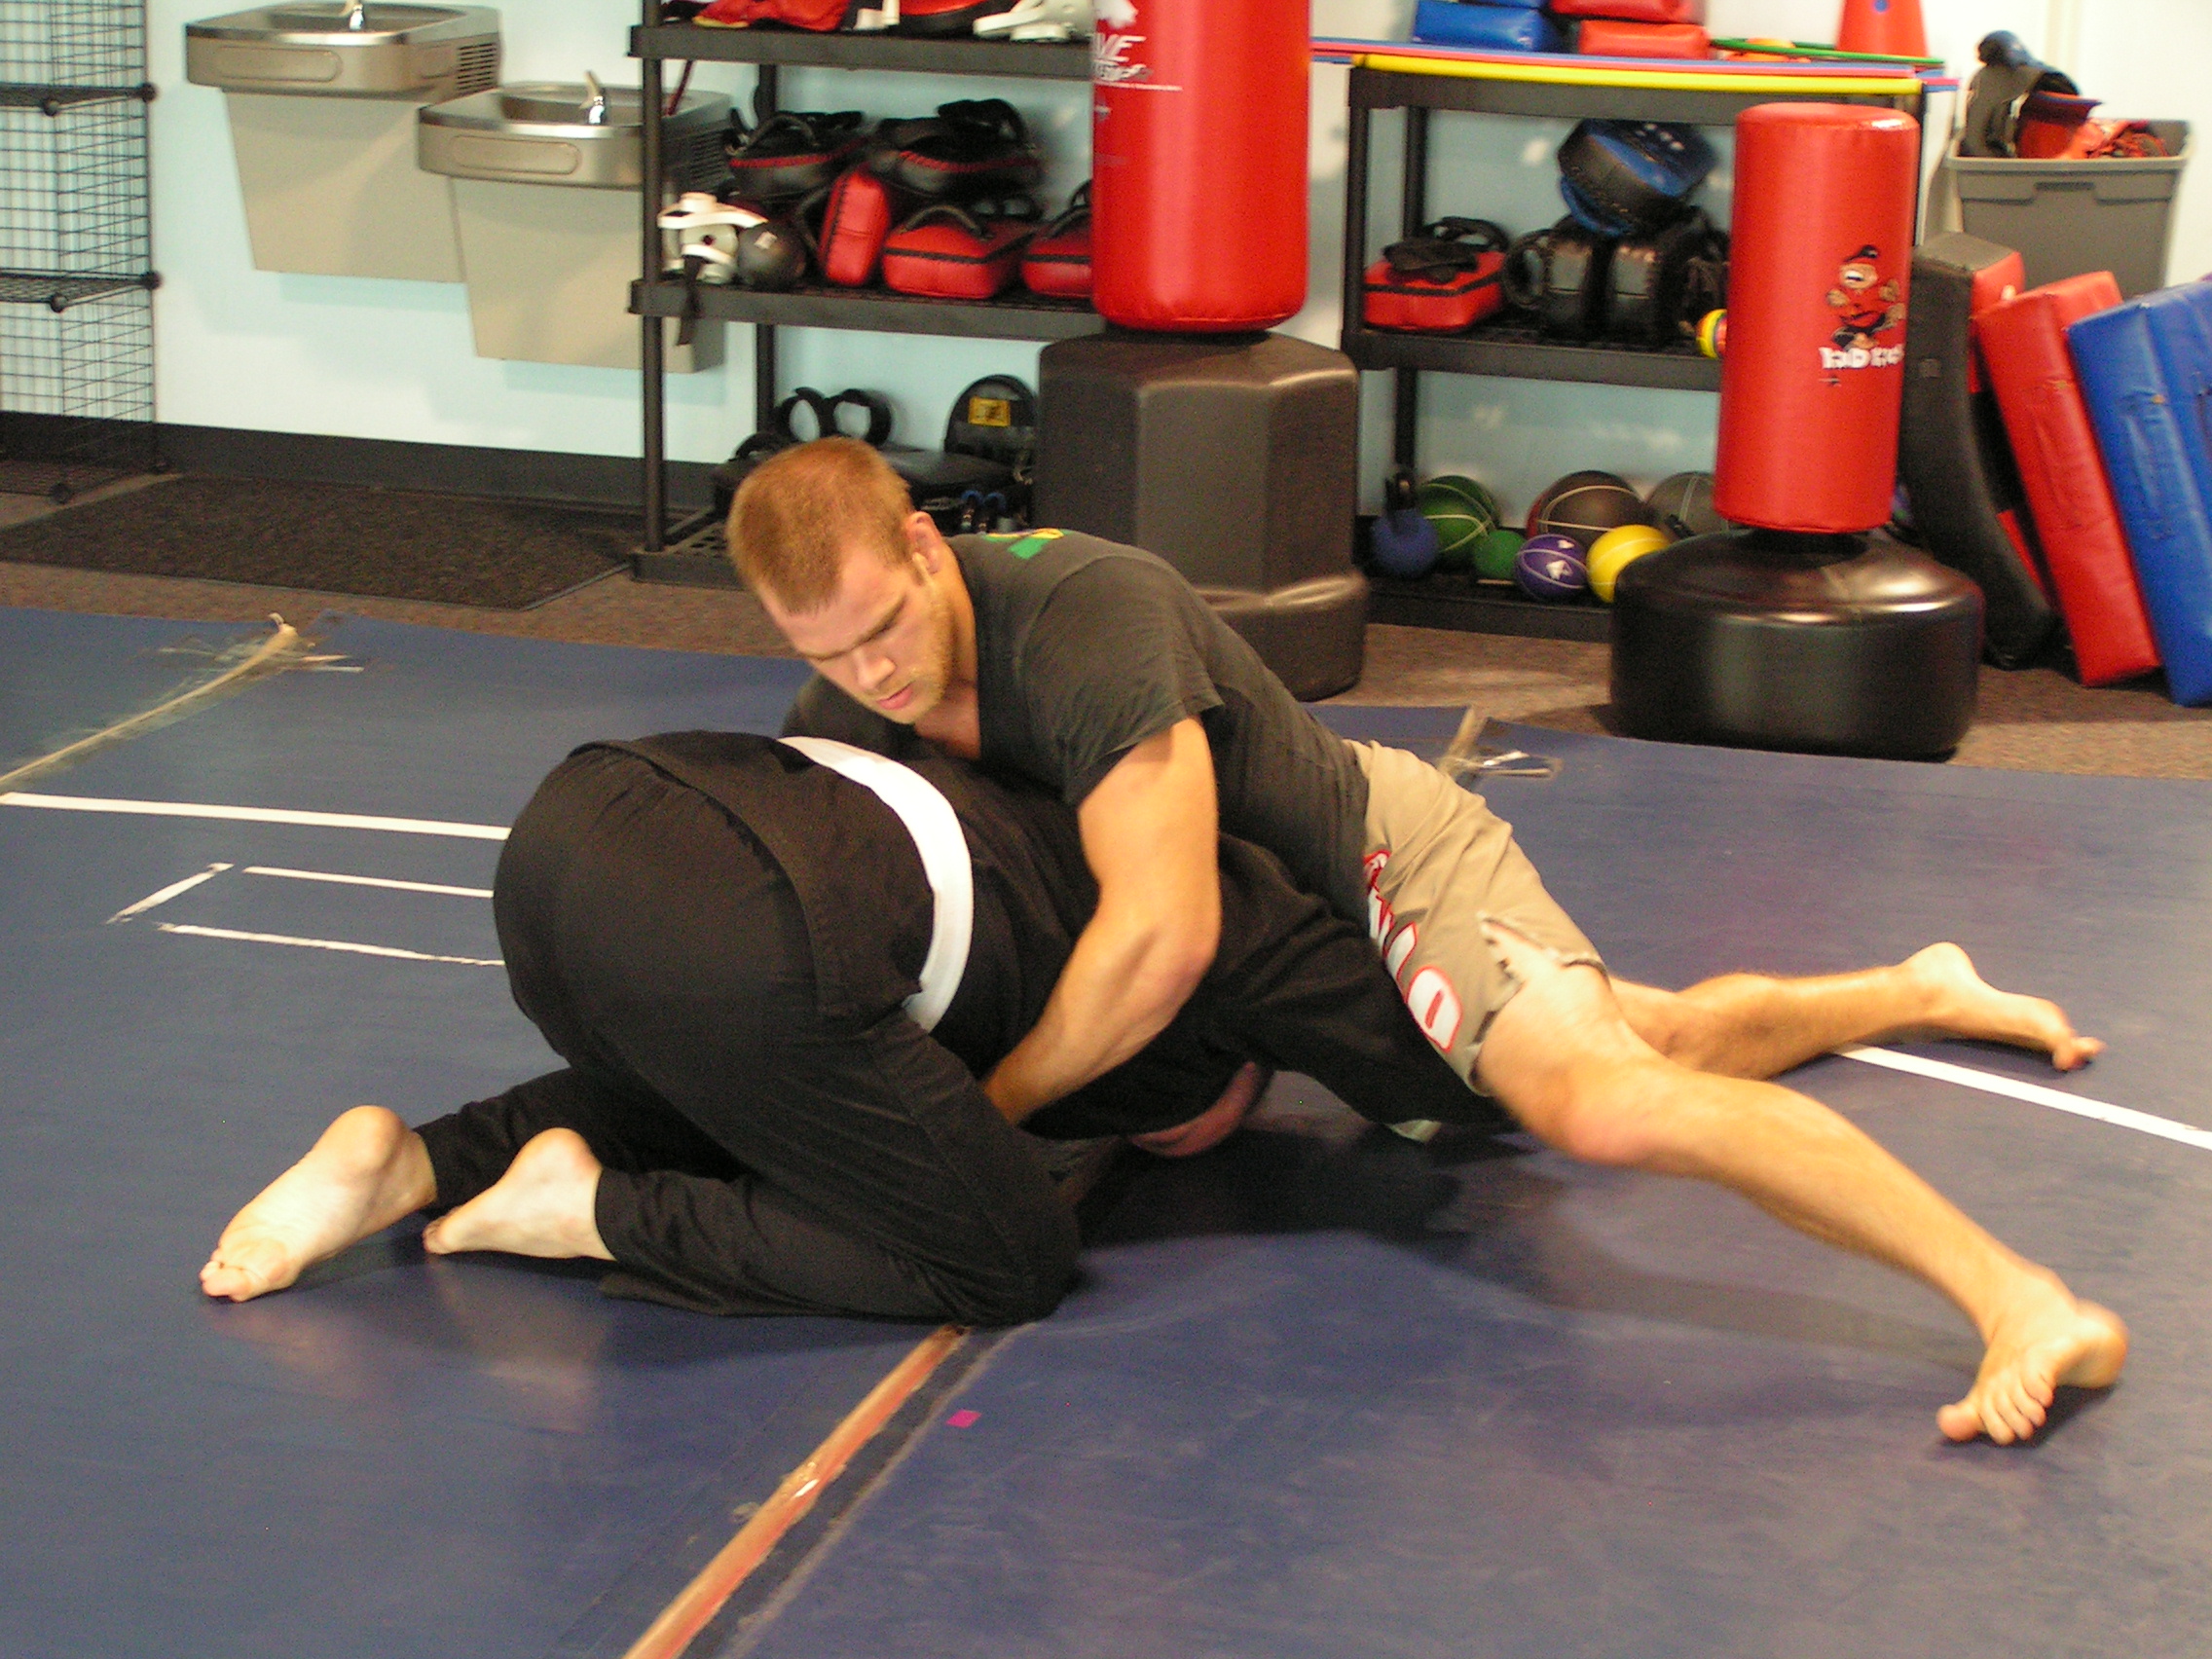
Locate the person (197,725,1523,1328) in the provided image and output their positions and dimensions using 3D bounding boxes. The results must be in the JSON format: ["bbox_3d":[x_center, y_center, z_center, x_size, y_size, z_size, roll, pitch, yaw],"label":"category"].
[{"bbox_3d":[-0.246,0.260,2.656,1.623,0.466,0.715,-2,10,-35],"label":"person"}]

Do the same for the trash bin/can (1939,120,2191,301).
[{"bbox_3d":[2.385,-1.507,5.023,0.707,0.485,0.384,-2,27,6],"label":"trash bin/can"}]

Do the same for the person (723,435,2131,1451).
[{"bbox_3d":[0.145,0.180,2.605,1.822,0.477,1.243,9,15,1],"label":"person"}]
